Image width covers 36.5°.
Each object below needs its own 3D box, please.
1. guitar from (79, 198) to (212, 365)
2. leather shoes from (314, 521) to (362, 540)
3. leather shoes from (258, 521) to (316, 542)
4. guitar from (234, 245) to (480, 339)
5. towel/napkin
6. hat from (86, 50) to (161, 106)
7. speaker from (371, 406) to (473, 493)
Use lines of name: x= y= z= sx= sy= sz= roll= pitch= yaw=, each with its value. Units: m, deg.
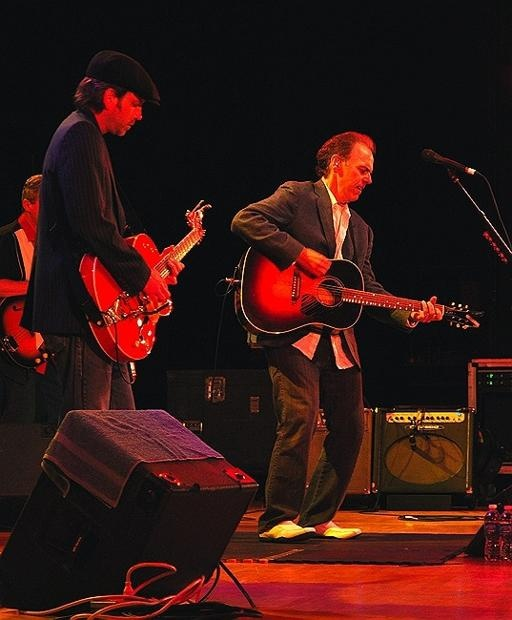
guitar: x=-0.380 y=-0.095 z=2.381 sx=0.087 sy=0.543 sz=0.247 roll=-7 pitch=-57 yaw=32
leather shoes: x=0.328 y=0.893 z=3.172 sx=0.209 sy=0.073 sz=0.069 roll=-2 pitch=-7 yaw=16
leather shoes: x=0.119 y=0.851 z=2.991 sx=0.202 sy=0.069 sz=0.079 roll=-6 pitch=-13 yaw=20
guitar: x=0.355 y=-0.014 z=3.279 sx=0.912 sy=0.355 sz=0.222 roll=10 pitch=-12 yaw=-12
towel/napkin: x=-0.263 y=0.310 z=1.743 sx=0.301 sy=0.083 sz=0.303 roll=9 pitch=13 yaw=-37
hat: x=-0.379 y=-0.697 z=2.387 sx=0.217 sy=0.096 sz=0.144 roll=15 pitch=17 yaw=-36
speaker: x=0.974 y=0.832 z=4.934 sx=0.854 sy=0.705 sz=0.473 roll=0 pitch=-11 yaw=5
